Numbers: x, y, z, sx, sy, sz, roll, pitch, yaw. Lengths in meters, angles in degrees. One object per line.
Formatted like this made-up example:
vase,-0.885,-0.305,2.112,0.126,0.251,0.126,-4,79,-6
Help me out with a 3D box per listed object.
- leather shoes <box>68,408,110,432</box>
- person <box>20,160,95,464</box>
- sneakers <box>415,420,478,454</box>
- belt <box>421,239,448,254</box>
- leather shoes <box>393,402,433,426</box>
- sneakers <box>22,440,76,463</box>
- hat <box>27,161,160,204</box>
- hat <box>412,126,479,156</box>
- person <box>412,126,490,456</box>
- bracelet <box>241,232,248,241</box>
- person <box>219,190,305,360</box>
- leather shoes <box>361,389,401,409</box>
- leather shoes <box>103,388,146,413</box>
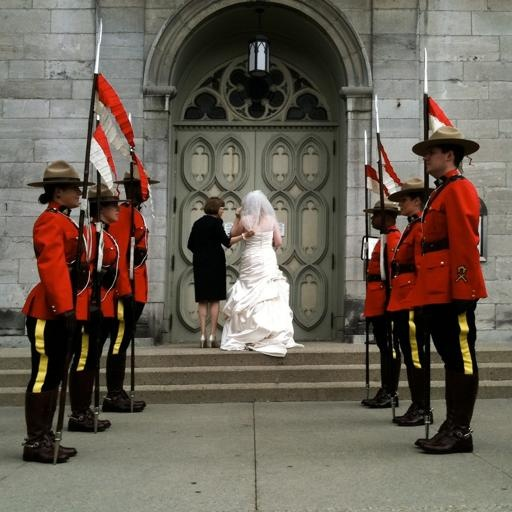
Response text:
leather shoes,-1.470,1.409,11.383,0.412,0.248,0.150,0,-11,-8
person,-1.636,0.417,10.475,0.527,2.360,0.503,-1,-1,-10
sneakers,1.583,1.430,10.389,0.399,0.226,0.189,2,-10,4
belt,1.477,-0.087,10.538,0.157,0.073,0.111,-3,-1,-5
leather shoes,1.422,1.375,11.589,0.324,0.129,0.206,5,-11,-23
sneakers,-1.670,1.518,10.341,0.322,0.112,0.172,-1,-4,1
hat,-1.562,-0.703,12.406,0.830,0.234,0.709,-3,1,17
hat,1.700,-1.024,11.670,0.671,0.192,0.675,0,-16,3
person,1.590,0.246,10.527,0.586,1.922,0.503,-1,-1,10
bracelet,-0.123,-0.233,14.614,0.054,0.066,0.025,-2,-4,12
person,0.049,0.152,14.276,0.843,1.183,1.008,-1,-1,5
leather shoes,1.260,1.352,12.506,0.442,0.167,0.151,-1,-9,16
leather shoes,-1.258,1.345,12.367,0.340,0.149,0.216,0,-5,-9
